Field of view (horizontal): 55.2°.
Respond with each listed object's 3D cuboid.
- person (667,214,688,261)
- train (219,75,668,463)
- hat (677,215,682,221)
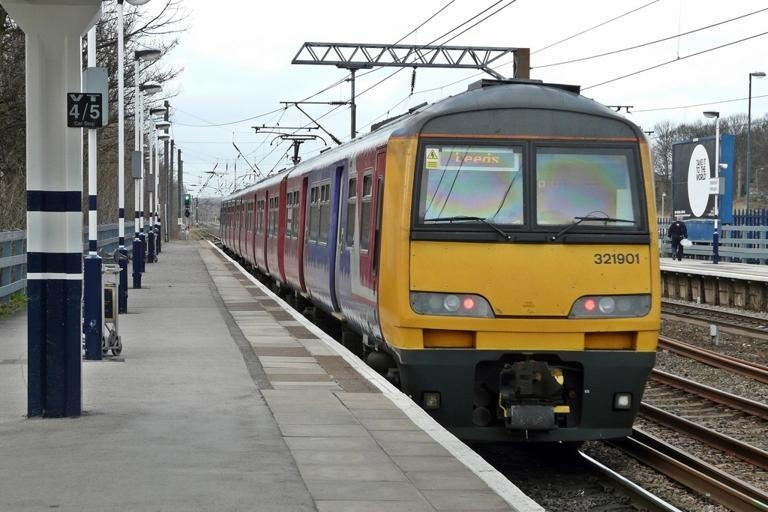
[{"bbox_3d":[13.641,-0.803,34.041,0.695,1.959,1.520,3,4,23],"label":"person"},{"bbox_3d":[0.485,-0.020,10.898,2.711,4.761,6.804,0,4,-27],"label":"train"},{"bbox_3d":[13.853,-1.764,34.334,0.217,0.266,0.263,12,20,25],"label":"hat"}]
